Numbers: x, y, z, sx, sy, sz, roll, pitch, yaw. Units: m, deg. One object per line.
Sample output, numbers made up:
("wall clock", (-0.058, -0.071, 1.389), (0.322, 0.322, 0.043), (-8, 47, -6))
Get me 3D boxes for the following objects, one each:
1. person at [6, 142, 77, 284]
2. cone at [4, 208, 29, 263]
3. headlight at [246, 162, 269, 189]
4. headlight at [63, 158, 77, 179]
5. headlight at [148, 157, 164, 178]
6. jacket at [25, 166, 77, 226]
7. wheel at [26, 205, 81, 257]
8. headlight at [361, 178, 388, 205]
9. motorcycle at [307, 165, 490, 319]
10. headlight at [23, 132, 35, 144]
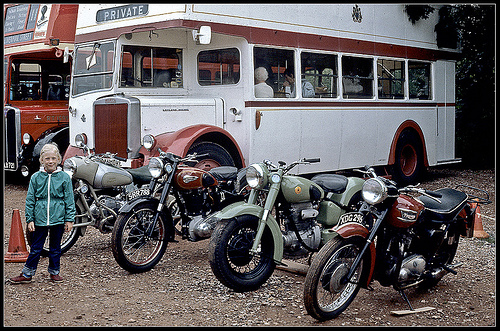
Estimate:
("person", (-2.723, 0.655, 5.487), (0.737, 1.852, 0.351), (-4, 9, -22))
("cone", (-3.562, 1.086, 6.430), (0.419, 0.887, 0.430), (-1, 3, -29))
("headlight", (0.112, 0.141, 5.266), (0.290, 0.323, 0.191), (-1, 8, -9))
("headlight", (-2.746, 0.028, 6.367), (0.221, 0.335, 0.136), (4, 1, 17))
("headlight", (-1.364, 0.023, 6.025), (0.155, 0.314, 0.271), (-10, 12, -40))
("jacket", (-2.664, 0.409, 5.536), (0.646, 0.793, 0.303), (0, 3, -10))
("wheel", (-3.035, 1.057, 6.548), (0.761, 0.902, 0.744), (-1, -5, 0))
("headlight", (1.368, 0.267, 4.482), (0.259, 0.295, 0.270), (1, 1, 36))
("motorcycle", (1.722, 0.797, 5.460), (3.072, 1.626, 1.163), (-3, 7, -39))
("headlight", (-6.343, -0.780, 11.758), (0.208, 0.312, 0.146), (-6, -2, -6))
